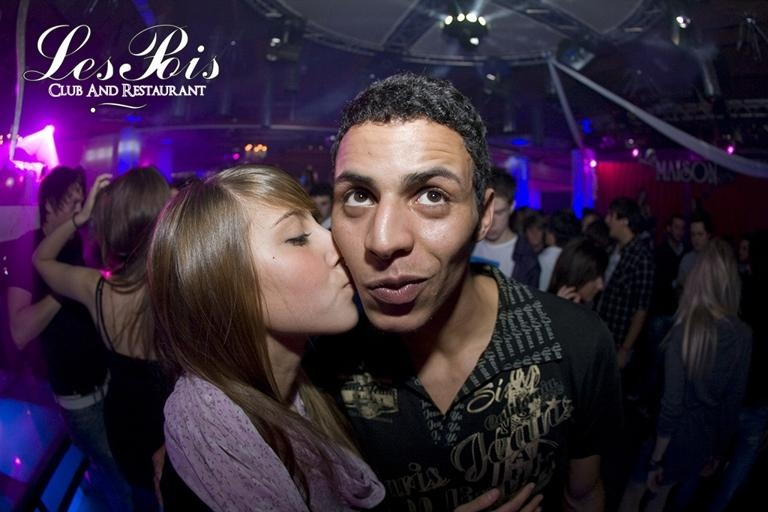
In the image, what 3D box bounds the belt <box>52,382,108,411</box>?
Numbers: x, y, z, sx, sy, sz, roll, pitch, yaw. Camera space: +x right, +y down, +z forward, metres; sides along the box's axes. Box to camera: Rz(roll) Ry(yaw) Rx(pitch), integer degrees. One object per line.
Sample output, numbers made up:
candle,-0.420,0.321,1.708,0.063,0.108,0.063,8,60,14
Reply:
belt,-2.780,1.317,5.144,0.293,0.076,0.294,-4,0,-12
